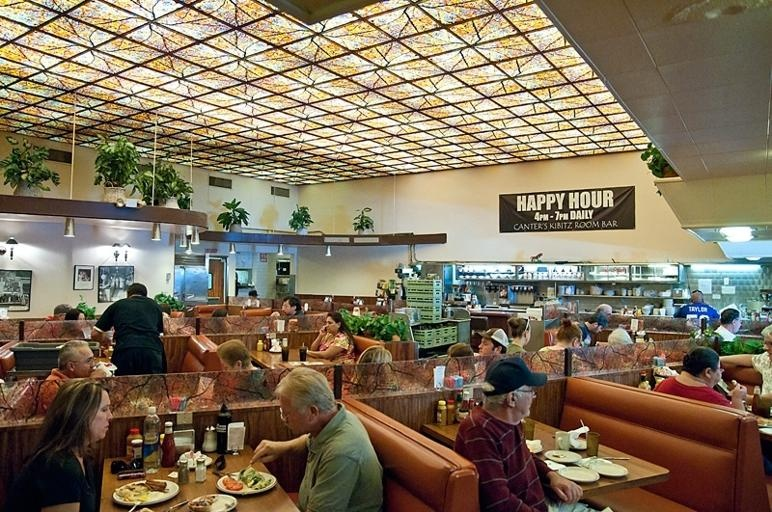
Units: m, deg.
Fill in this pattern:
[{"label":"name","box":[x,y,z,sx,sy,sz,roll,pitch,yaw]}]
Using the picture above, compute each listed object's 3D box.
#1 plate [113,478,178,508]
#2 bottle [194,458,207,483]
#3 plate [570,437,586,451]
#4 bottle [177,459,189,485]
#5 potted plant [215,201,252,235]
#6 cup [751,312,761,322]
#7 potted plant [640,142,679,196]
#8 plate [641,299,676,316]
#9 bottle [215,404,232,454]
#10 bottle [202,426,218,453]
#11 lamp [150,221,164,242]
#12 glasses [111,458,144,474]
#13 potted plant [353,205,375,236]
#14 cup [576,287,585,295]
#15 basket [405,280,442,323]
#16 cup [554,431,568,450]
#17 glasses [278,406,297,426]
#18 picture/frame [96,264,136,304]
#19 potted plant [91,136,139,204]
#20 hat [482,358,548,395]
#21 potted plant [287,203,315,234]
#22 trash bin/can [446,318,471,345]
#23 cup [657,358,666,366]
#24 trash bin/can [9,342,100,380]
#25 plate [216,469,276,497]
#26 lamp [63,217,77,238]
[{"label":"plate","box":[-1.947,1.907,4.208,0.510,0.161,0.296,4,-12,-9]},{"label":"bottle","box":[-1.607,1.833,4.497,0.109,0.176,0.209,7,-12,-18]},{"label":"plate","box":[1.943,1.873,5.215,0.123,0.030,0.119,1,3,20]},{"label":"bottle","box":[-1.740,1.828,4.460,0.100,0.195,0.192,7,-12,-19]},{"label":"potted plant","box":[-5.107,-1.376,17.530,1.139,1.083,1.160,-8,-12,37]},{"label":"cup","box":[8.622,1.409,12.063,0.092,0.151,0.162,8,-10,-20]},{"label":"potted plant","box":[4.174,-1.398,7.720,0.566,0.379,0.522,-42,9,-39]},{"label":"plate","box":[6.997,1.333,13.249,0.768,0.254,0.525,1,-3,-34]},{"label":"bottle","box":[-1.546,1.626,4.930,0.133,0.440,0.216,7,-12,-16]},{"label":"bottle","box":[-1.650,1.706,4.851,0.141,0.219,0.084,4,-12,-7]},{"label":"lamp","box":[-4.868,-0.552,10.977,0.154,0.303,0.373,8,-13,-22]},{"label":"glasses","box":[-2.269,1.822,4.522,0.179,0.049,0.170,-1,-8,-3]},{"label":"potted plant","box":[-0.946,-1.256,18.217,0.931,0.988,0.922,3,-1,5]},{"label":"cup","box":[5.433,0.972,14.481,0.282,0.182,0.152,-1,-7,22]},{"label":"basket","box":[1.151,1.183,13.974,1.166,1.045,1.054,-2,-2,42]},{"label":"cup","box":[1.765,1.824,5.164,0.137,0.156,0.163,-1,-12,17]},{"label":"glasses","box":[-0.836,1.340,4.365,0.122,0.175,0.269,8,-13,-23]},{"label":"picture/frame","box":[-7.146,0.724,13.565,0.093,1.196,1.152,-4,-5,38]},{"label":"potted plant","box":[-5.531,-1.656,10.544,0.758,1.103,0.779,0,-10,31]},{"label":"hat","box":[1.126,1.012,4.541,0.513,0.252,0.312,-4,1,-19]},{"label":"potted plant","box":[-3.153,-1.325,18.896,1.137,1.027,1.016,-1,1,-17]},{"label":"trash bin/can","box":[2.036,2.055,14.547,0.844,0.758,0.609,4,-8,-37]},{"label":"cup","box":[3.793,1.453,7.135,0.102,0.089,0.098,1,-6,0]},{"label":"trash bin/can","box":[-4.411,1.344,6.955,1.052,0.306,0.727,3,-3,-27]},{"label":"plate","box":[-1.178,1.898,4.399,0.495,0.173,0.291,5,-12,-13]},{"label":"lamp","box":[-6.302,-0.580,10.304,0.142,0.314,0.369,10,-13,-28]}]
